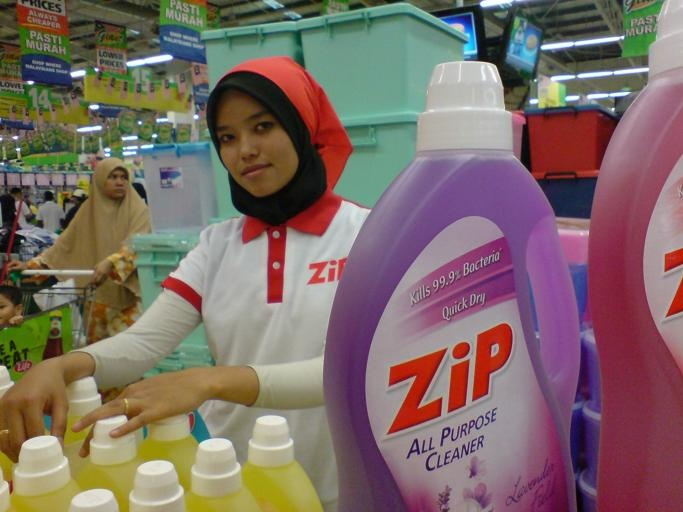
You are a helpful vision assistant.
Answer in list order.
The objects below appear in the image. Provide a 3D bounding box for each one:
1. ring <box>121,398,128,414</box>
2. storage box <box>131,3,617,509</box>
[{"bbox_3d":[-0.387,0.272,0.949,0.008,0.023,0.016,-1,1,5],"label":"ring"},{"bbox_3d":[0.745,-0.246,3.400,1.679,2.934,1.778,3,8,30],"label":"storage box"}]
